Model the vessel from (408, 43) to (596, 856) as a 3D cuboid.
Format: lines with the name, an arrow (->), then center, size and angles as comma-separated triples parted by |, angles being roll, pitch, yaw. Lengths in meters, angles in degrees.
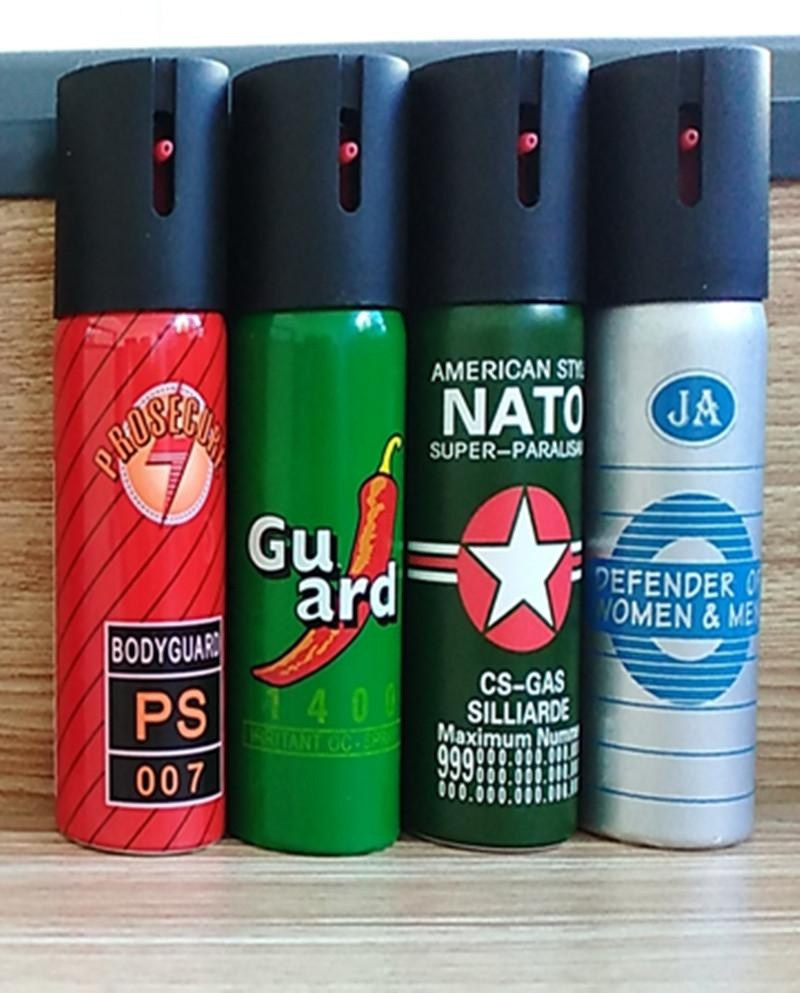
vessel -> 0.040, -0.018, 0.641 | 0.077, 0.340, 0.070 | 1, 10, -1

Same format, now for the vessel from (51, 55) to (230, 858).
vessel -> -0.110, -0.017, 0.624 | 0.073, 0.327, 0.070 | 0, 10, -7

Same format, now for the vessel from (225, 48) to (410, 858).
vessel -> -0.037, -0.017, 0.627 | 0.074, 0.332, 0.064 | 0, 10, -4

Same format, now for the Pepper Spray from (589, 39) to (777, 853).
Pepper Spray -> 0.117, -0.020, 0.646 | 0.081, 0.343, 0.070 | 2, 10, 6
